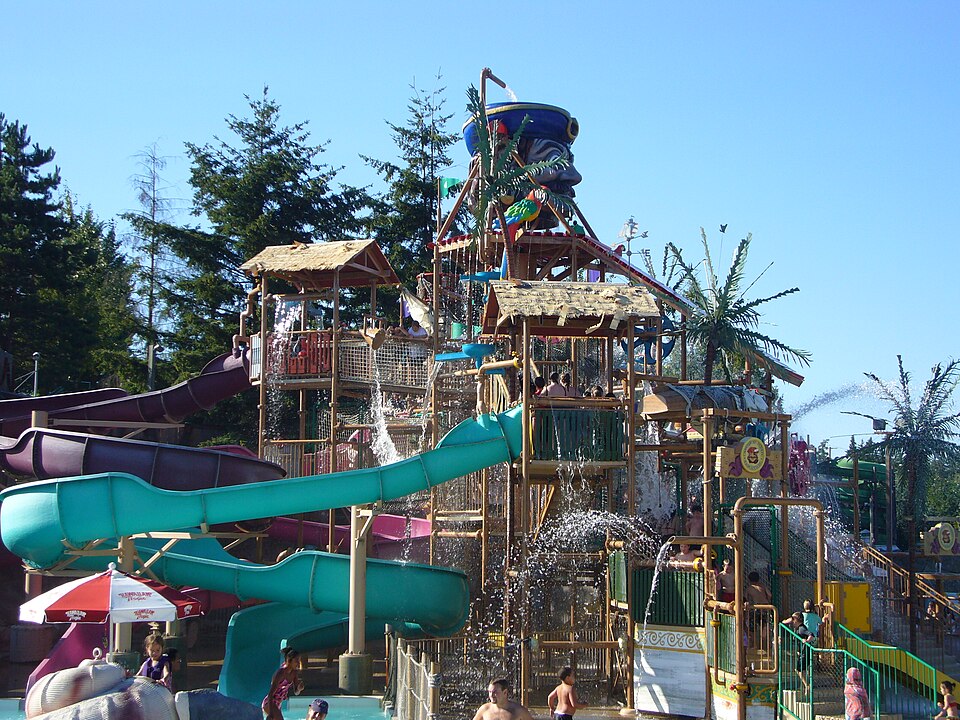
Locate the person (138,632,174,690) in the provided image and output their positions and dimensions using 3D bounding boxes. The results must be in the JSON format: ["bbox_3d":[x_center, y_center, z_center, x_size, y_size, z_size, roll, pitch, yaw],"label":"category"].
[{"bbox_3d":[-5.808,5.435,32.674,0.651,1.075,0.719,2,-1,2],"label":"person"}]

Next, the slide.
[{"bbox_3d":[-5.019,3.285,38.502,9.162,6.063,6.036,5,-14,-15],"label":"slide"}]
